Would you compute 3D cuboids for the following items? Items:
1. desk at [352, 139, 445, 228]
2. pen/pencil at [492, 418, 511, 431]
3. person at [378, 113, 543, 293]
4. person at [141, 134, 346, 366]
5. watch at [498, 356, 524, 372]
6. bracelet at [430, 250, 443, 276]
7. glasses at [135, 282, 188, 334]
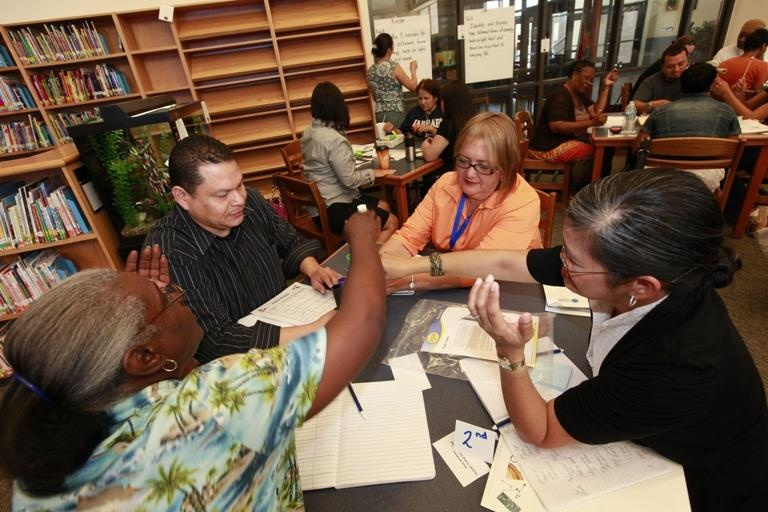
[{"bbox_3d":[0.137,-0.575,4.172,0.535,0.684,0.731,20,48,27],"label":"desk"},{"bbox_3d":[0.426,0.612,1.743,0.062,0.019,0.016,-28,59,-16],"label":"pen/pencil"},{"bbox_3d":[0.462,-0.394,2.721,1.058,0.916,0.726,-25,38,-34],"label":"person"},{"bbox_3d":[-0.682,-0.048,2.369,0.799,1.065,0.789,16,44,16],"label":"person"},{"bbox_3d":[0.447,0.374,1.692,0.053,0.026,0.051,5,7,34],"label":"watch"},{"bbox_3d":[0.223,0.035,2.262,0.070,0.091,0.090,-4,28,-5],"label":"bracelet"},{"bbox_3d":[-0.682,0.180,1.535,0.142,0.043,0.136,-55,15,-18],"label":"glasses"}]
